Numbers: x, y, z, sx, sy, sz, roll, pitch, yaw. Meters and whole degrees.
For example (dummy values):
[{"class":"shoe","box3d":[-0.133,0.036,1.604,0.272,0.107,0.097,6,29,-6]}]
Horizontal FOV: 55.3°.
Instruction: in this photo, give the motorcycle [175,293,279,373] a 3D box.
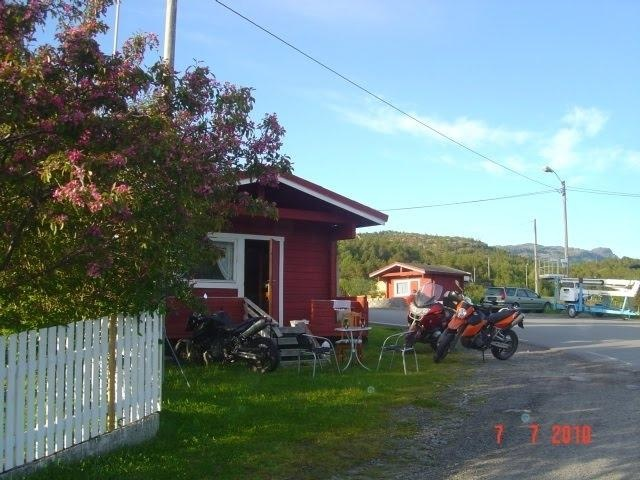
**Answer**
[{"class":"motorcycle","box3d":[-1.938,1.990,12.623,2.314,1.476,1.133,0,-4,18]}]

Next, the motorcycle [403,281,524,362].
[{"class":"motorcycle","box3d":[3.163,1.868,13.685,2.780,1.704,1.385,11,-10,-21]}]
